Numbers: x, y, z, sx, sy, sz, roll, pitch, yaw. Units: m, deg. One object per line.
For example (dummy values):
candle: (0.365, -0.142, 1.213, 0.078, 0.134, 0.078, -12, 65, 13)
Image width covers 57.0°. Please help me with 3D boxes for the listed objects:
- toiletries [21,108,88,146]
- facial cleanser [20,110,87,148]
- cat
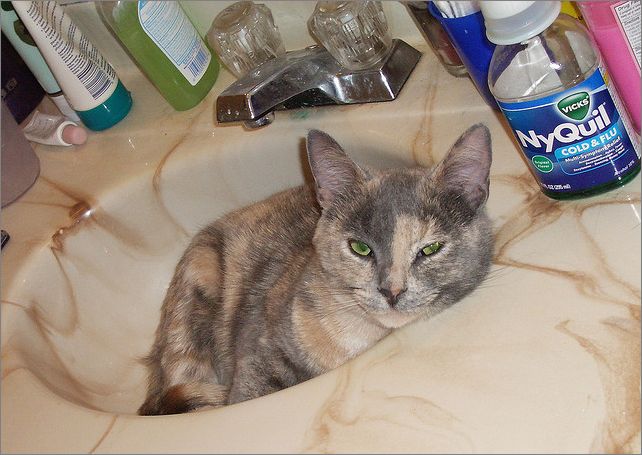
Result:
toiletries: (-0.615, -0.229, 1.355, 0.132, 0.038, 0.077, 8, 76, 22)
facial cleanser: (-0.607, -0.238, 1.381, 0.135, 0.073, 0.097, 9, 27, 20)
cat: (-0.015, 0.082, 1.124, 0.472, 0.478, 0.635, -1, 19, -12)
